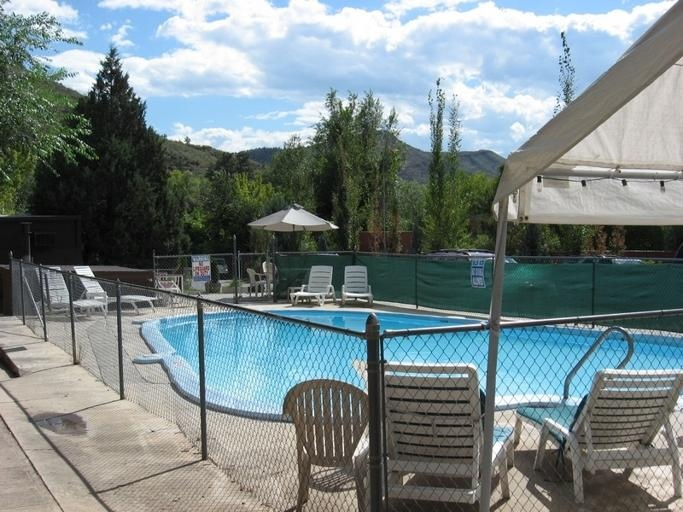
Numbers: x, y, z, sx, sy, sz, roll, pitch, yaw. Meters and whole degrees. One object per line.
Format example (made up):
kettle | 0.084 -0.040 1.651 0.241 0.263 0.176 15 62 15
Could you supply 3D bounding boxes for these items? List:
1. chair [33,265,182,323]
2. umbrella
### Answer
chair | -4.235 0.666 11.750 2.730 1.226 0.756 -6 0 32
umbrella | -1.506 -1.105 20.197 1.991 0.826 1.853 -8 12 -42
